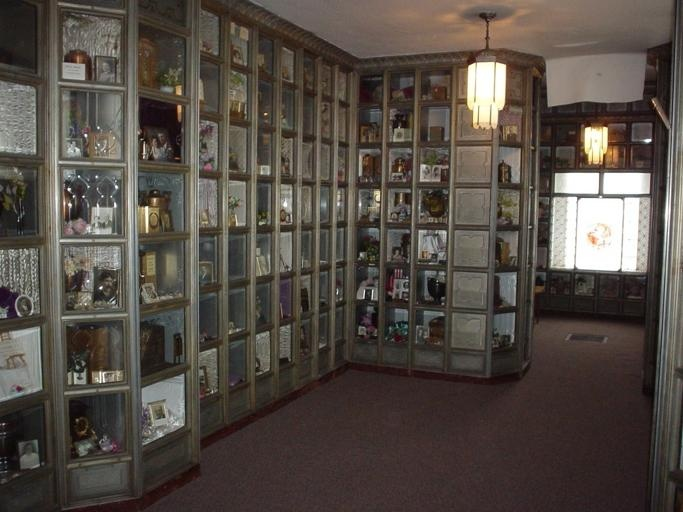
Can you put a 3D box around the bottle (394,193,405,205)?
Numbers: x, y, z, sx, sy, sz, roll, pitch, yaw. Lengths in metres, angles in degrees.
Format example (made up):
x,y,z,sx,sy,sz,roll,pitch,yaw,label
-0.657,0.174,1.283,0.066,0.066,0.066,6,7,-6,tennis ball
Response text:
x,y,z,sx,sy,sz,roll,pitch,yaw,label
0.695,-0.667,6.223,0.118,0.241,0.125,2,-5,0,bottle

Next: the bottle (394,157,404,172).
x,y,z,sx,sy,sz,roll,pitch,yaw,label
0.685,-1.069,6.200,0.139,0.158,0.084,11,6,14,bottle

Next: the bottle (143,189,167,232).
x,y,z,sx,sy,sz,roll,pitch,yaw,label
-1.284,-0.318,3.670,0.156,0.287,0.060,-4,8,-39,bottle

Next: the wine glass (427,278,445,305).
x,y,z,sx,sy,sz,roll,pitch,yaw,label
1.119,0.402,6.125,0.239,0.284,0.241,0,-1,24,wine glass

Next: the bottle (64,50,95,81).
x,y,z,sx,sy,sz,roll,pitch,yaw,label
-1.632,-1.202,3.348,0.174,0.214,0.179,-2,6,-18,bottle

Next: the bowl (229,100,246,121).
x,y,z,sx,sy,sz,roll,pitch,yaw,label
-0.894,-1.265,4.615,0.138,0.120,0.156,-1,-2,22,bowl
